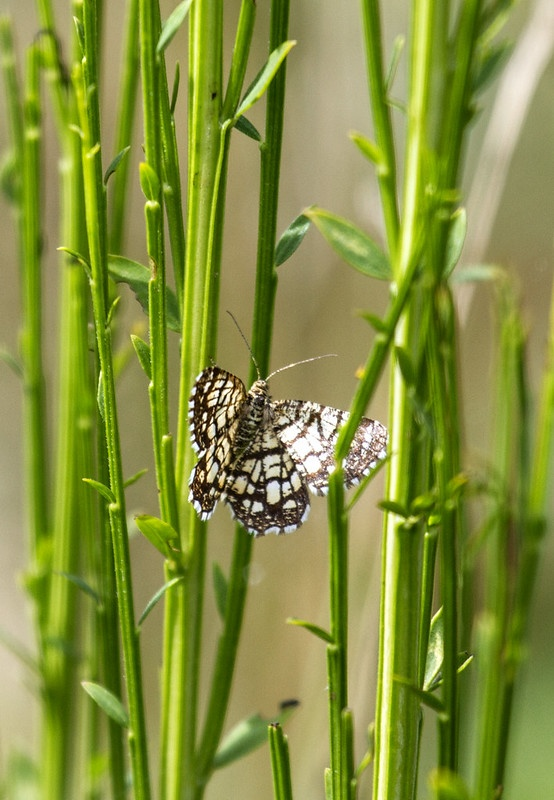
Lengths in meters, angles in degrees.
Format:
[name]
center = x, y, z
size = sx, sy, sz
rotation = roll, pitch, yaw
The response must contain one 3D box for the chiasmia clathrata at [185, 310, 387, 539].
[chiasmia clathrata]
center = 0.005, 0.006, 0.488
size = 0.050, 0.122, 0.108
rotation = 0, 6, -32
